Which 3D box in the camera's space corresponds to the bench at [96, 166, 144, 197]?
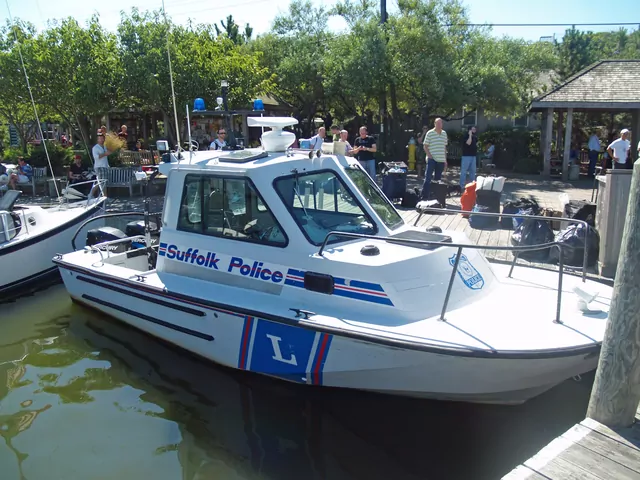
[{"bbox_3d":[-6.283,-1.768,15.879,1.442,1.020,0.566,-5,2,-27],"label":"bench"}]
